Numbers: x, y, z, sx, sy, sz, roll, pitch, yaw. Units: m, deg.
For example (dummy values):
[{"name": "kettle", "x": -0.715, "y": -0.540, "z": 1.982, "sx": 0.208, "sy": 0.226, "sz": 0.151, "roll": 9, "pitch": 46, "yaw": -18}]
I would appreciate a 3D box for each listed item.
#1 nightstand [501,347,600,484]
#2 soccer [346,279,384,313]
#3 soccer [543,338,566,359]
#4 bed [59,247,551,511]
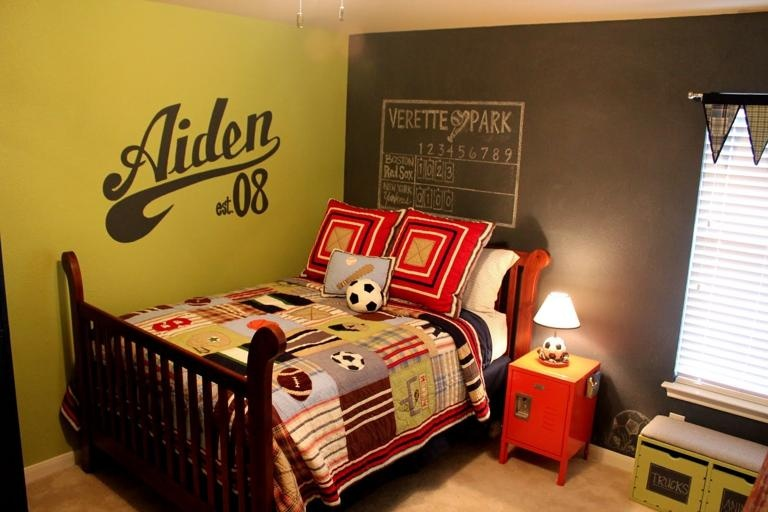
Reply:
[{"name": "nightstand", "x": 1.172, "y": 1.119, "z": 3.936, "sx": 0.579, "sy": 0.707, "sz": 0.574, "roll": 7, "pitch": 10, "yaw": 24}, {"name": "soccer", "x": -0.142, "y": 0.305, "z": 3.904, "sx": 0.232, "sy": 0.282, "sz": 0.243, "roll": -11, "pitch": -6, "yaw": 29}, {"name": "soccer", "x": 1.165, "y": 0.647, "z": 3.821, "sx": 0.119, "sy": 0.128, "sz": 0.158, "roll": -3, "pitch": -6, "yaw": 39}, {"name": "bed", "x": -0.308, "y": 0.374, "z": 3.506, "sx": 1.545, "sy": 0.984, "sz": 2.093, "roll": 9, "pitch": 13, "yaw": 42}]
